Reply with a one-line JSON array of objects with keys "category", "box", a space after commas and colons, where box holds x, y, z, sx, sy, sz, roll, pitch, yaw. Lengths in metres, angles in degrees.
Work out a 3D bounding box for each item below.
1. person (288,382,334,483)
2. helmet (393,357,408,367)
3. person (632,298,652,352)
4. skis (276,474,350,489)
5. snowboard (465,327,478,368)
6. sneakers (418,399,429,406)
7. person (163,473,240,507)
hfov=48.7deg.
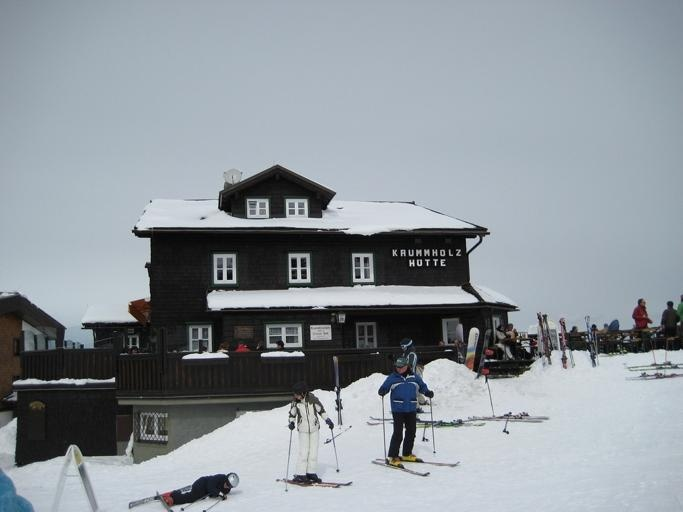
[{"category": "person", "box": [-0.884, 4.763, 20.498, 1.024, 2.669, 1.303, -2, 7, -4]}, {"category": "helmet", "box": [1.653, 2.966, 21.023, 0.226, 0.309, 0.316, -3, 3, 26]}, {"category": "person", "box": [13.399, 2.999, 33.539, 0.708, 2.276, 0.834, 1, 7, 21]}, {"category": "skis", "box": [-0.723, 6.017, 20.103, 1.470, 0.222, 0.220, 2, -1, 7]}, {"category": "snowboard", "box": [5.285, 3.754, 30.745, 0.485, 2.010, 0.283, 7, -1, -9]}, {"category": "sneakers", "box": [2.945, 5.201, 26.752, 0.192, 0.257, 0.593, 2, -20, -17]}, {"category": "person", "box": [-3.614, 5.877, 19.364, 1.769, 0.574, 0.778, -10, -30, -15]}]
